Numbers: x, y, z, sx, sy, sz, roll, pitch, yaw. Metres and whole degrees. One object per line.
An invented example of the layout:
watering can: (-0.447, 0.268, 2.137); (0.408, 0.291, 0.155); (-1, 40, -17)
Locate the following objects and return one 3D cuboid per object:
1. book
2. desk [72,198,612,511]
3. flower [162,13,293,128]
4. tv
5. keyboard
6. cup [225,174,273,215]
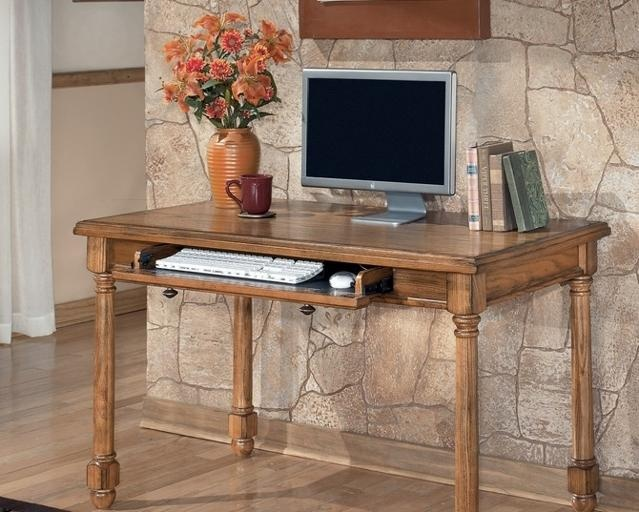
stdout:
book: (0.483, -0.171, 1.805); (0.237, 0.283, 0.305); (-3, 7, 29)
desk: (0.050, 0.325, 1.893); (1.291, 0.923, 0.864); (5, 10, 34)
flower: (-0.303, -0.654, 2.210); (0.430, 0.434, 0.449); (-1, 8, -3)
tv: (0.216, -0.341, 1.972); (0.541, 0.439, 0.183); (12, 20, 38)
keyboard: (-0.203, 0.024, 1.664); (0.459, 0.051, 0.171); (4, 9, 28)
cup: (-0.213, -0.186, 1.970); (0.161, 0.104, 0.099); (1, 10, 3)
